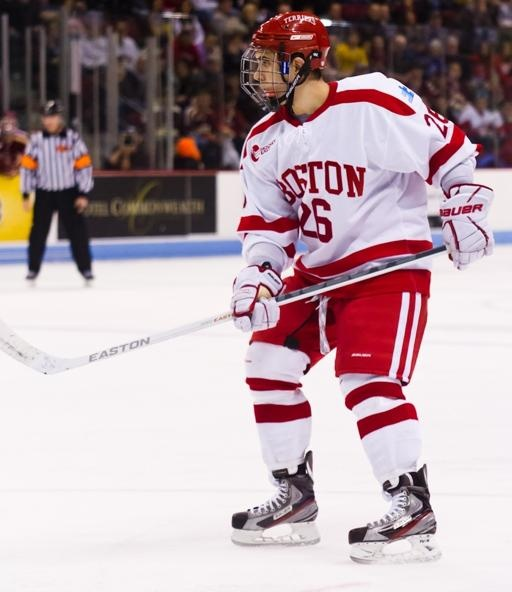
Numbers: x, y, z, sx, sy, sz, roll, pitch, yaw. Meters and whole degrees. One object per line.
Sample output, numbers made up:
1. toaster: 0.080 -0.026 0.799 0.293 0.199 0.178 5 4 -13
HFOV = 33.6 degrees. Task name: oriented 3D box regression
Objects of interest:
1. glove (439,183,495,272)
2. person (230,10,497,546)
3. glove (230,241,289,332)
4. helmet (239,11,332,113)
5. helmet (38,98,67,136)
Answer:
1. glove: 0.444 -0.145 1.773 0.109 0.177 0.114 -1 8 12
2. person: 0.200 -0.046 1.805 0.589 1.168 0.464 0 8 17
3. glove: 0.000 -0.021 1.877 0.142 0.184 0.083 3 -24 -20
4. helmet: 0.063 -0.527 1.951 0.292 0.229 0.205 1 0 -2
5. helmet: -1.507 -1.320 6.268 0.185 0.251 0.151 -2 8 2
